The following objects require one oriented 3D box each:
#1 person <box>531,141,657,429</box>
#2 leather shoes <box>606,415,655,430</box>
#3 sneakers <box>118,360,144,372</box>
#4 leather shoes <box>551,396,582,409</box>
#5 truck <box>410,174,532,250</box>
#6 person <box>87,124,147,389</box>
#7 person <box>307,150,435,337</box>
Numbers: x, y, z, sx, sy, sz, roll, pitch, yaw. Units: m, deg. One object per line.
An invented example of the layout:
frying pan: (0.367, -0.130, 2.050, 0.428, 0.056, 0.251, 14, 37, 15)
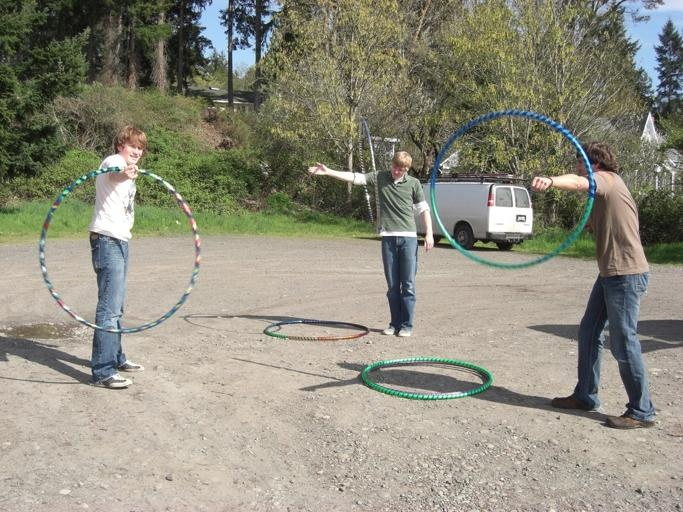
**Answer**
person: (2.458, 0.235, 6.150, 0.947, 2.544, 0.894, 5, 9, 26)
leather shoes: (2.577, 1.492, 6.023, 0.408, 0.179, 0.152, -2, 2, 7)
sneakers: (-2.273, 1.184, 7.244, 0.284, 0.115, 0.109, 1, 4, -3)
leather shoes: (2.165, 1.399, 6.468, 0.286, 0.125, 0.107, 6, 6, 13)
truck: (4.135, -1.453, 22.045, 2.330, 1.853, 3.719, -4, 11, -32)
person: (-2.302, -0.018, 6.873, 0.615, 2.611, 0.686, -3, 9, -21)
person: (0.666, -0.195, 9.199, 1.234, 2.438, 0.942, -1, 8, -13)
